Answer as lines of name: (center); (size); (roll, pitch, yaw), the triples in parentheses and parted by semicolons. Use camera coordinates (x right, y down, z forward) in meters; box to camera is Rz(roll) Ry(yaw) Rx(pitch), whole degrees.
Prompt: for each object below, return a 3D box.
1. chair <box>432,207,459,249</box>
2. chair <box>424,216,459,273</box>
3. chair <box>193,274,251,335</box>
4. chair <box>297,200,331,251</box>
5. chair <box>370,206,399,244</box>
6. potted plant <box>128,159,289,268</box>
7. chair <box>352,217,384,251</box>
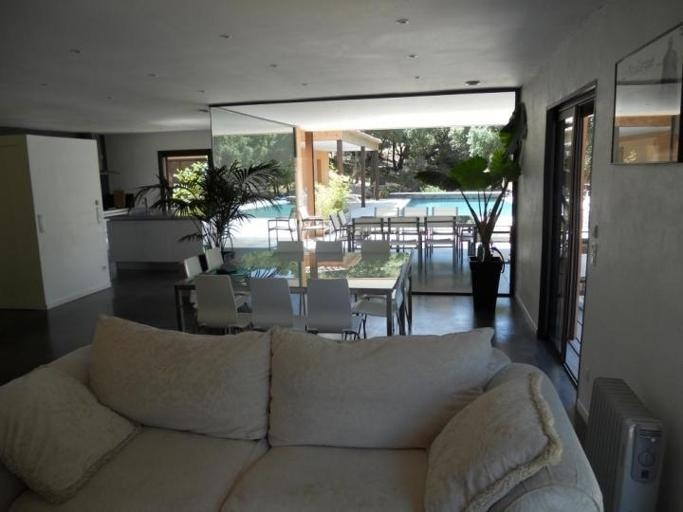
chair: (1.632, -0.428, 7.579); (0.376, 0.804, 0.571); (2, 43, 14)
chair: (1.570, -0.242, 7.446); (0.586, 1.075, 0.727); (3, 27, 13)
chair: (-1.029, 0.441, 4.618); (0.484, 0.623, 0.503); (0, 8, 10)
chair: (-0.444, -0.448, 7.218); (0.604, 0.971, 0.573); (2, 9, 14)
chair: (0.641, -0.504, 7.253); (0.568, 0.832, 0.307); (0, 8, 2)
potted plant: (-2.169, -0.899, 8.167); (2.588, 1.946, 2.385); (0, 1, -12)
chair: (0.384, -0.415, 7.303); (0.574, 0.634, 0.445); (1, 16, 6)
